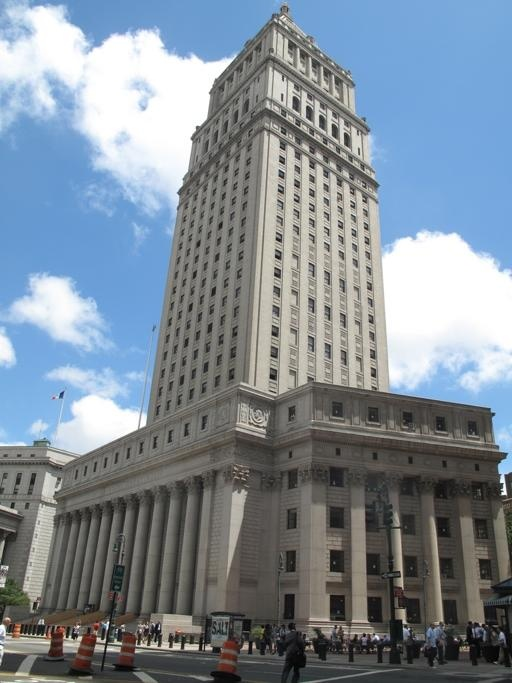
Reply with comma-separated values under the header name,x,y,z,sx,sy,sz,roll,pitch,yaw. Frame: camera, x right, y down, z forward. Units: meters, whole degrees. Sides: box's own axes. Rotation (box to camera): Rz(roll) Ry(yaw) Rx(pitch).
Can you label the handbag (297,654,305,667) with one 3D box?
name,x,y,z,sx,sy,sz,roll,pitch,yaw
handbag,1.081,7.881,14.438,0.235,0.320,0.344,3,-28,3
